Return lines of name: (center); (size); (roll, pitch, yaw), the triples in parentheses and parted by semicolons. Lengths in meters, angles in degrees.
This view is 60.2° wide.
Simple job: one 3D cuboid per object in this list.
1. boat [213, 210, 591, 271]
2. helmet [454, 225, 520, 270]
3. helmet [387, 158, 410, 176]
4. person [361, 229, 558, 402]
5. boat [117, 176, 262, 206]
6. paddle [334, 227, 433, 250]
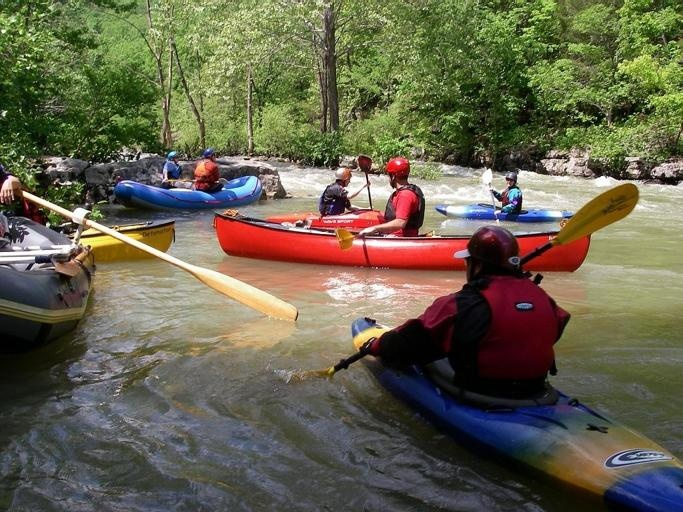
boat: (0.610, -0.201, 7.969); (5.563, 0.631, 0.964); (3, 8, 8)
helmet: (0.962, -0.098, 4.065); (0.528, 0.217, 0.345); (9, 11, 29)
helmet: (0.682, -1.106, 7.244); (0.335, 0.204, 0.211); (-7, 27, 15)
person: (0.818, 0.344, 4.366); (1.247, 0.768, 1.360); (-9, 15, -29)
boat: (-3.491, -1.453, 14.223); (2.443, 0.426, 1.206); (-5, 10, -39)
paddle: (0.393, -0.248, 7.679); (1.430, 0.350, 0.324); (-3, 1, 23)
